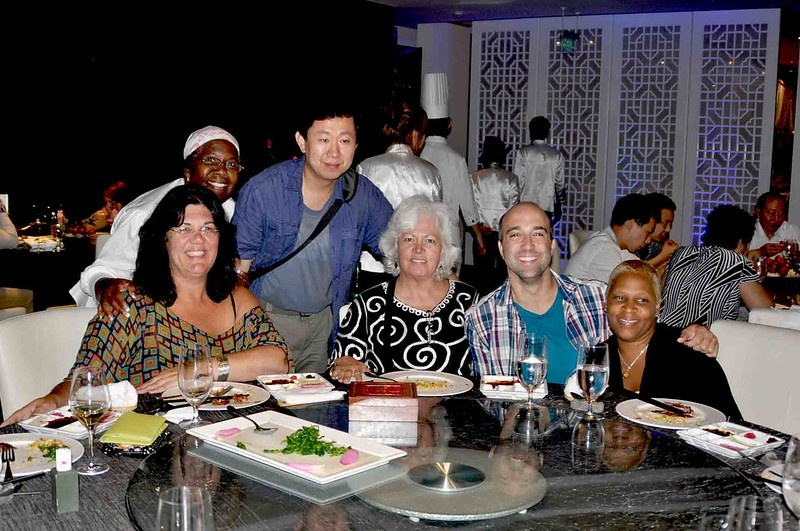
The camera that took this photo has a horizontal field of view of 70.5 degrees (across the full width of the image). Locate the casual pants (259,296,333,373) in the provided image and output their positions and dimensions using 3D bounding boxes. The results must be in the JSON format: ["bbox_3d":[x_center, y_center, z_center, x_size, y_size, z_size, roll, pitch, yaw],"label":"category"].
[{"bbox_3d":[-0.569,0.484,3.398,0.332,0.710,0.210,3,36,-7],"label":"casual pants"}]

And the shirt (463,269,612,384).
[{"bbox_3d":[0.625,0.293,2.563,0.467,0.325,0.230,-16,9,-2],"label":"shirt"}]

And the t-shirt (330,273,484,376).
[{"bbox_3d":[0.015,0.206,2.939,0.772,0.674,0.401,0,2,-3],"label":"t-shirt"}]

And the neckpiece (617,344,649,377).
[{"bbox_3d":[1.071,0.437,2.546,0.038,0.133,0.136,27,-4,-8],"label":"neckpiece"}]

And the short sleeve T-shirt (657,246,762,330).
[{"bbox_3d":[1.877,0.118,3.565,0.541,0.495,0.293,7,21,9],"label":"short sleeve T-shirt"}]

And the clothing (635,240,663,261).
[{"bbox_3d":[2.113,-0.113,4.793,0.207,0.181,0.143,-11,19,28],"label":"clothing"}]

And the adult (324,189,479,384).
[{"bbox_3d":[0.072,0.147,2.890,1.012,0.908,0.542,0,4,-18],"label":"adult"}]

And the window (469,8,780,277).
[{"bbox_3d":[3.301,-1.736,8.868,4.419,4.274,0.203,9,37,31],"label":"window"}]

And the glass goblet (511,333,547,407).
[{"bbox_3d":[0.453,0.371,1.965,0.124,0.279,0.109,2,11,13],"label":"glass goblet"}]

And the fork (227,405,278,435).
[{"bbox_3d":[-0.489,0.480,1.802,0.067,0.042,0.291,0,6,-43],"label":"fork"}]

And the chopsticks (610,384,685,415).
[{"bbox_3d":[0.886,0.488,2.030,0.248,0.027,0.034,17,10,28],"label":"chopsticks"}]
